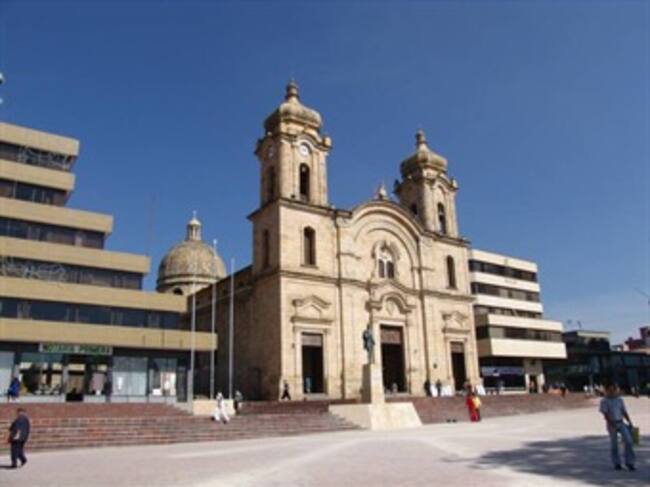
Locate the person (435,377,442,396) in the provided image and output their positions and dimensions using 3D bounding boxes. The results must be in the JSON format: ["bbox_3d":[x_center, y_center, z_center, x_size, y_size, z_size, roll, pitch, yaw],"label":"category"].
[{"bbox_3d":[10.919,13.537,42.140,0.542,1.452,1.651,-9,-21,16],"label":"person"}]

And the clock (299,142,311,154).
[{"bbox_3d":[-2.002,-9.073,42.011,1.177,1.235,0.158,4,-11,-30],"label":"clock"}]

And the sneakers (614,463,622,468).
[{"bbox_3d":[7.604,5.731,11.396,0.194,0.139,0.074,5,-19,0],"label":"sneakers"}]

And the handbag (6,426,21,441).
[{"bbox_3d":[-10.608,6.423,14.928,0.371,0.486,0.490,16,-39,-29],"label":"handbag"}]

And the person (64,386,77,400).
[{"bbox_3d":[-19.891,11.782,34.696,0.852,0.851,0.847,-3,-38,7],"label":"person"}]

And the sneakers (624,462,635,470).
[{"bbox_3d":[7.803,5.640,11.248,0.178,0.155,0.435,-15,-24,29],"label":"sneakers"}]

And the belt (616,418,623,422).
[{"bbox_3d":[8.003,4.778,11.949,0.200,0.086,0.124,1,-21,-12],"label":"belt"}]

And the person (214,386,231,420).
[{"bbox_3d":[-5.934,9.358,25.303,0.769,1.619,1.530,2,-21,-14],"label":"person"}]

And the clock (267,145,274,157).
[{"bbox_3d":[-5.266,-8.894,42.405,0.182,1.459,1.214,3,-4,-34],"label":"clock"}]

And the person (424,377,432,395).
[{"bbox_3d":[9.762,13.461,41.970,0.609,1.484,0.870,-4,-20,1],"label":"person"}]
